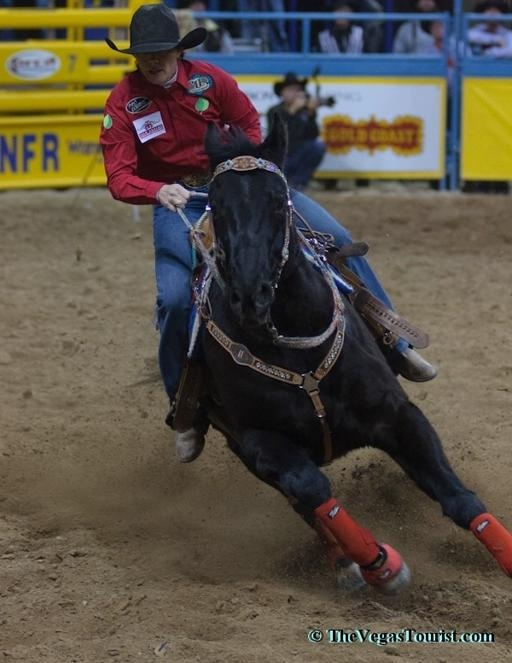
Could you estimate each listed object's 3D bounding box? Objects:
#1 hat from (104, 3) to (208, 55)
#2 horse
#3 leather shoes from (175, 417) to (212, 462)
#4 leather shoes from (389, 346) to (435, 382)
[{"bbox_3d":[-0.455,-1.415,4.254,0.440,0.149,0.430,-6,7,5],"label":"hat"},{"bbox_3d":[0.324,0.181,3.605,1.099,2.044,0.964,0,15,-8],"label":"horse"},{"bbox_3d":[-0.364,0.616,4.979,0.162,0.150,0.343,-2,37,16],"label":"leather shoes"},{"bbox_3d":[0.834,0.166,4.921,0.129,0.137,0.335,-37,25,-11],"label":"leather shoes"}]
